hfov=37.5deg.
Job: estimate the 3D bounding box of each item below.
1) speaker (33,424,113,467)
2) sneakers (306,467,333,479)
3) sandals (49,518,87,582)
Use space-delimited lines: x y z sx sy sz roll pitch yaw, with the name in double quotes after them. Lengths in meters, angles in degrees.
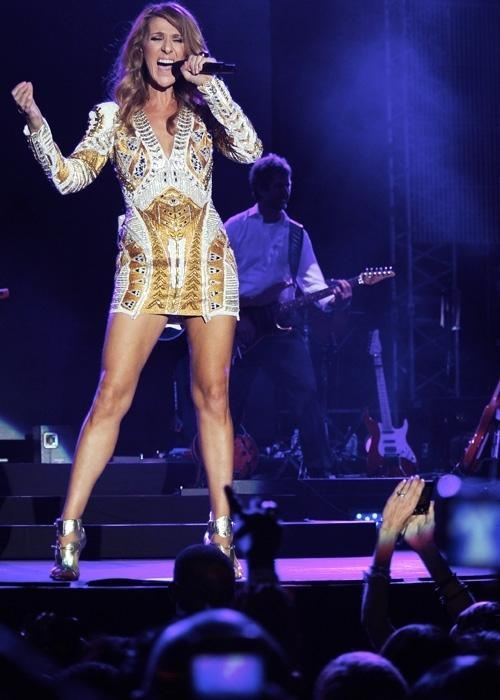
-1.153 0.582 4.574 0.274 0.311 0.474 -2 -4 1 "speaker"
0.432 0.737 4.559 0.172 0.103 0.086 1 -22 2 "sneakers"
-0.525 0.589 2.149 0.075 0.093 0.216 -1 -1 -3 "sandals"
